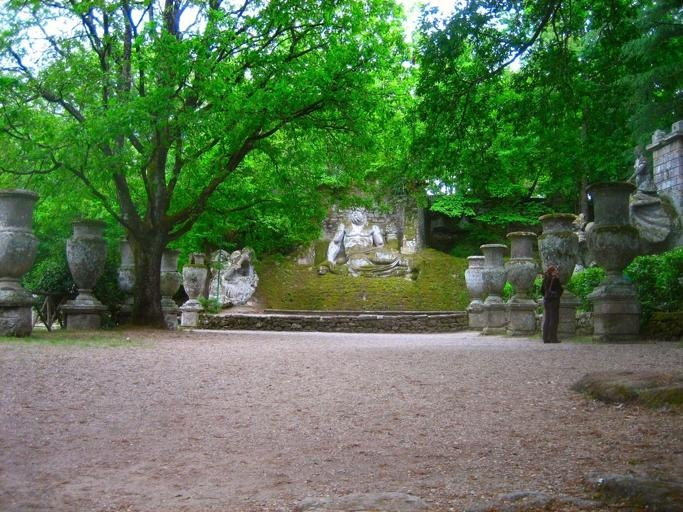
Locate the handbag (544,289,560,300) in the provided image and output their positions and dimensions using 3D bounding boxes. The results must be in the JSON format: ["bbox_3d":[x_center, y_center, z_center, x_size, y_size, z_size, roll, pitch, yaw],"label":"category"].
[{"bbox_3d":[3.733,0.665,11.380,0.146,0.198,0.100,11,12,10],"label":"handbag"}]

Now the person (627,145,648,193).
[{"bbox_3d":[7.947,-2.305,17.237,0.514,0.447,1.378,-11,-41,16],"label":"person"}]

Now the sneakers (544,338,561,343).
[{"bbox_3d":[3.666,1.469,11.182,0.296,0.115,0.098,0,-3,6],"label":"sneakers"}]

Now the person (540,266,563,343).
[{"bbox_3d":[3.706,0.843,11.368,0.341,1.278,0.704,3,10,17],"label":"person"}]
